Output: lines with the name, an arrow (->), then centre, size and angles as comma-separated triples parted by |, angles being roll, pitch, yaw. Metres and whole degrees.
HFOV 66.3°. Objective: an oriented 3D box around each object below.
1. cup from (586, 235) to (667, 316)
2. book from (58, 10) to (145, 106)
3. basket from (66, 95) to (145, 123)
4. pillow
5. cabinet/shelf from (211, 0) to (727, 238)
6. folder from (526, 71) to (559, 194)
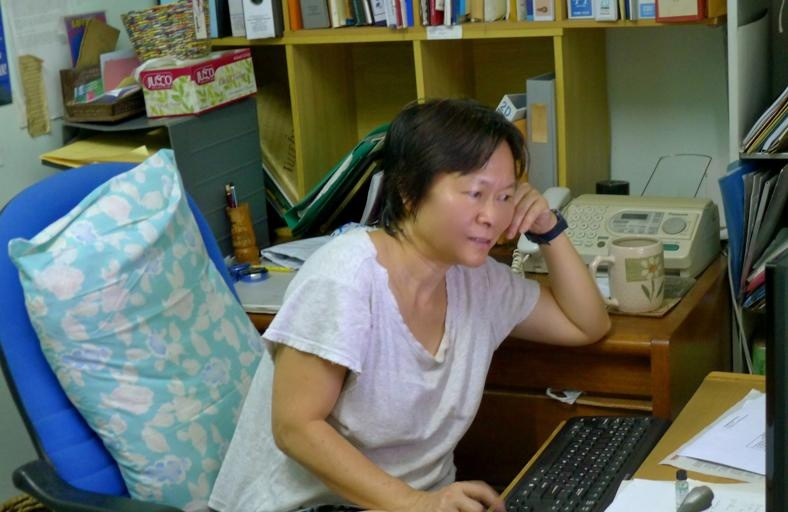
cup -> 0.600, 0.059, 1.590 | 0.186, 0.182, 0.125 | -11, 7, -3
book -> -1.028, -0.698, 2.054 | 0.227, 0.330, 0.090 | -6, 6, -43
basket -> -0.952, -0.477, 1.960 | 0.246, 0.084, 0.106 | -7, 23, -9
pillow -> -0.569, 0.220, 1.430 | 0.199, 0.750, 0.620 | -12, 18, 31
cabinet/shelf -> 0.166, -0.504, 2.204 | 1.772, 0.713, 0.515 | 4, 24, 16
folder -> 0.487, -0.382, 2.035 | 0.122, 0.392, 0.230 | -1, 1, 16
